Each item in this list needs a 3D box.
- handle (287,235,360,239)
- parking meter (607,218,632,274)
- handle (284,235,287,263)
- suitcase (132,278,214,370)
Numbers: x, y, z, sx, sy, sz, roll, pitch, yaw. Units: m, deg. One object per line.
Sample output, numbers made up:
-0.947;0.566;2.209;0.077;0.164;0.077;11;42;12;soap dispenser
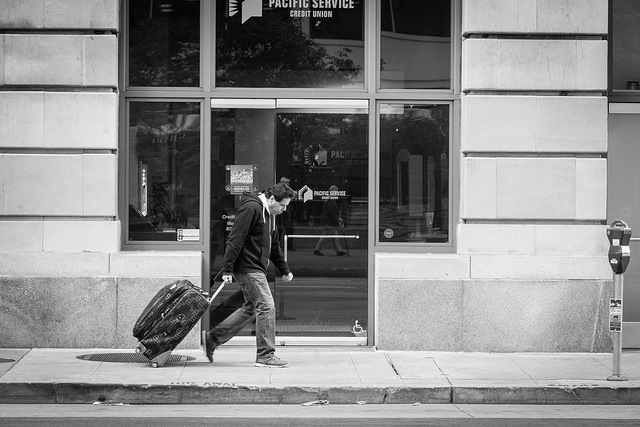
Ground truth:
0.055;0.362;16.916;1.104;0.057;0.033;1;4;-1;handle
4.204;0.475;15.251;0.323;0.734;0.288;2;4;12;parking meter
-0.531;0.542;16.893;0.049;0.408;0.048;0;4;-15;handle
-1.955;1.728;15.883;0.858;1.340;0.965;27;-8;30;suitcase
